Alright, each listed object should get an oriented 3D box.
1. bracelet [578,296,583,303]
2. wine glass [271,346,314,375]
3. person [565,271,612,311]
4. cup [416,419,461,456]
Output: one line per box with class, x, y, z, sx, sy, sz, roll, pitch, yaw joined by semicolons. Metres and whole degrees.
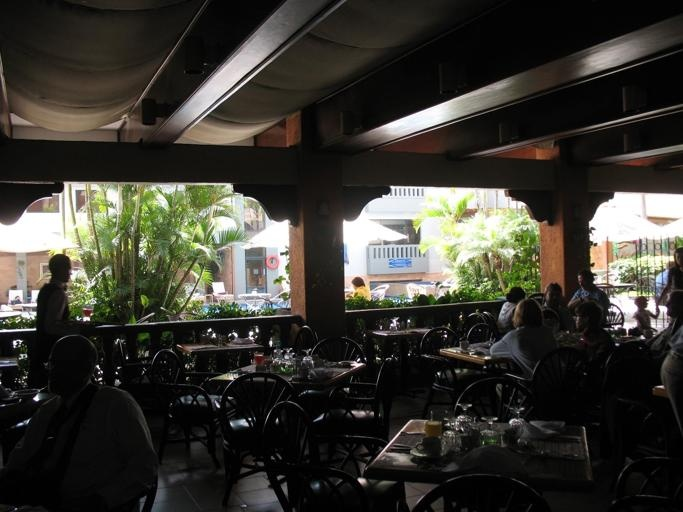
bracelet;3.485;0.637;8.015;0.068;0.067;0.070;-1;0;6
wine glass;-0.524;1.115;5.848;0.360;0.358;0.214;1;-3;4
person;3.780;0.558;8.428;0.391;0.649;0.698;-6;4;-18
cup;0.612;1.159;3.490;0.244;0.168;0.146;0;-2;-5
